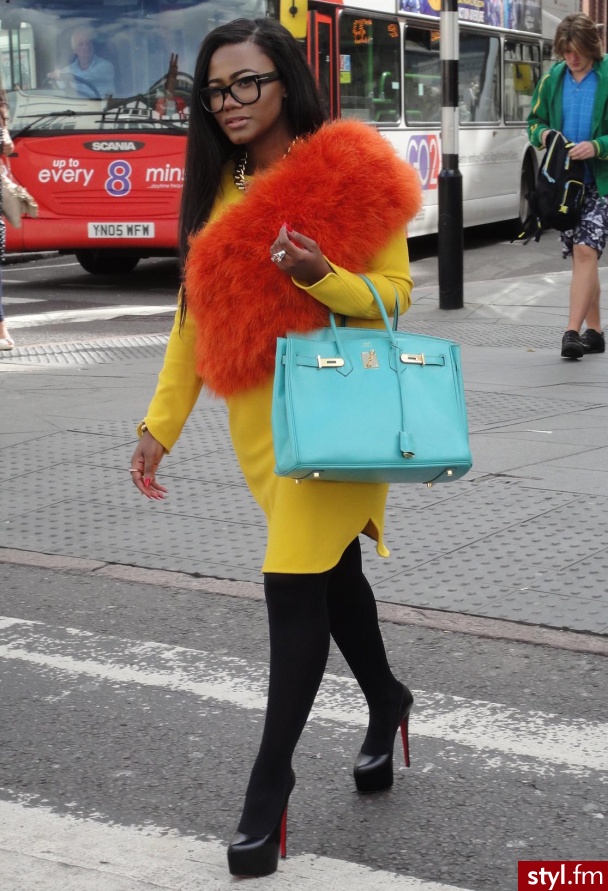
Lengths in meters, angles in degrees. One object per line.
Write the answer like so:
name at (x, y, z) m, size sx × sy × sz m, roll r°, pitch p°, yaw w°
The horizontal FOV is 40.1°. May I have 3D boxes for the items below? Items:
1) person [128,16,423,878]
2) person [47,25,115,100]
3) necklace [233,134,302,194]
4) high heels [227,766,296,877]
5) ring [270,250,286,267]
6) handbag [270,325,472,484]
person at (-0.035, -0.036, 1.573) m, size 0.569 × 1.586 × 0.576 m, roll 0°, pitch -4°, yaw -11°
person at (-3.106, -5.325, 11.713) m, size 0.858 × 1.035 × 0.346 m, roll -1°, pitch 2°, yaw 9°
necklace at (-0.092, -0.554, 1.655) m, size 0.088 × 0.110 × 0.044 m, roll 6°, pitch 8°, yaw 44°
high heels at (-0.075, 0.650, 1.441) m, size 0.109 × 0.190 × 0.175 m, roll -1°, pitch -3°, yaw -1°
ring at (-0.045, -0.301, 1.338) m, size 0.018 × 0.022 × 0.011 m, roll 20°, pitch -9°, yaw -17°
handbag at (0.098, -0.063, 1.324) m, size 0.270 × 0.249 × 0.129 m, roll 4°, pitch -18°, yaw -19°
